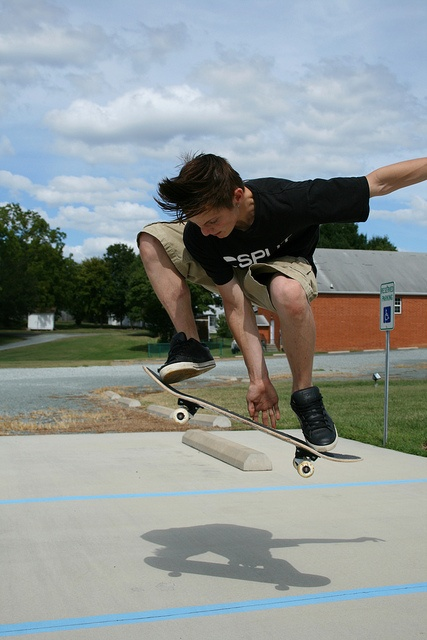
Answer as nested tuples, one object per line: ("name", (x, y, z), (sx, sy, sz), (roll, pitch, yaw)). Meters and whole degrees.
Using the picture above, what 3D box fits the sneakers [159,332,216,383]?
("sneakers", (-0.167, 0.198, 3.293), (0.189, 0.230, 0.542), (-20, -7, 22))

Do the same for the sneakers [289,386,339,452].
("sneakers", (0.452, 0.465, 2.948), (0.157, 0.177, 0.428), (-21, 24, 1))

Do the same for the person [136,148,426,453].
("person", (0.215, -0.051, 3.160), (1.183, 1.299, 1.369), (-1, -1, -22))
